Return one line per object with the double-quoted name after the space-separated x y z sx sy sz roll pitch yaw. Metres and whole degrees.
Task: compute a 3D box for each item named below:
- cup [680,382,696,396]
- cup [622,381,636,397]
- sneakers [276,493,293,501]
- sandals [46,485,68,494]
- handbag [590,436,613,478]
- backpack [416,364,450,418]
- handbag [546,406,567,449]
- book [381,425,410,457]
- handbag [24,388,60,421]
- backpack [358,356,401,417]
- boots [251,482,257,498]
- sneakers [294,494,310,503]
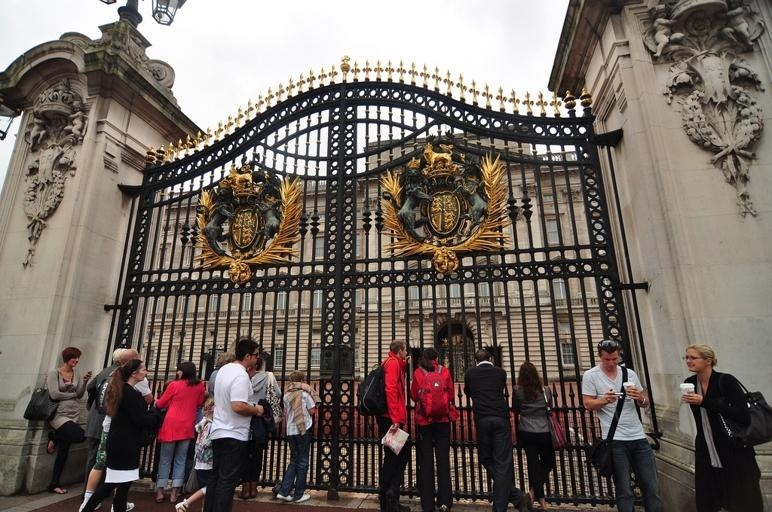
3.784 1.682 5.462 0.194 0.155 0.197 -3 -17 -1 "cup"
3.411 1.868 6.021 0.144 0.161 0.137 -4 -23 -2 "cup"
-1.669 4.024 7.191 0.307 0.130 0.110 20 -25 -9 "sneakers"
-5.932 4.256 7.821 0.249 0.090 0.135 -1 -13 1 "sandals"
3.082 2.878 6.139 0.264 0.509 0.320 17 -27 -41 "handbag"
0.756 2.210 6.798 0.549 0.767 0.444 1 -6 -14 "backpack"
2.682 2.740 6.770 0.190 0.577 0.268 -10 -22 20 "handbag"
0.146 2.808 6.591 0.446 0.446 0.163 -34 2 -1 "book"
-6.298 2.654 7.762 0.176 0.539 0.558 10 -22 11 "handbag"
-0.199 2.192 7.089 0.435 0.758 0.606 15 -28 -25 "backpack"
-2.232 3.996 7.328 0.076 0.235 0.093 -1 12 -8 "boots"
-1.391 4.052 7.211 0.233 0.098 0.092 -1 0 -32 "sneakers"
